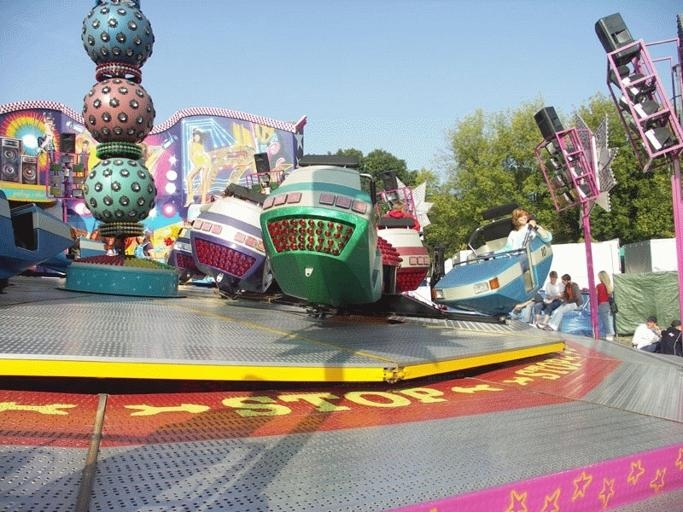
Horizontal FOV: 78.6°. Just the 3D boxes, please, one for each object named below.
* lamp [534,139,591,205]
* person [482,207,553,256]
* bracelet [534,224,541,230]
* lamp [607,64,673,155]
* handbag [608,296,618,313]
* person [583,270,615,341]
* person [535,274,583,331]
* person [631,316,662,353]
[{"bbox_3d":[5.077,-1.894,9.319,1.060,1.580,0.843,4,-2,29],"label":"lamp"},{"bbox_3d":[3.098,-0.383,7.128,0.950,0.416,0.963,-31,33,-29],"label":"person"},{"bbox_3d":[3.274,-0.484,7.012,0.075,0.091,0.229,-14,-16,34],"label":"bracelet"},{"bbox_3d":[6.021,-2.839,8.384,1.095,1.949,1.439,5,-2,24],"label":"lamp"},{"bbox_3d":[8.693,1.542,13.404,0.213,0.641,0.798,4,-2,35],"label":"handbag"},{"bbox_3d":[8.376,1.532,13.288,0.567,2.148,0.998,4,-2,32],"label":"person"},{"bbox_3d":[6.824,1.366,12.771,0.985,1.553,0.574,5,-2,21],"label":"person"},{"bbox_3d":[7.783,1.969,10.540,0.806,0.795,0.677,-1,8,12],"label":"person"}]
